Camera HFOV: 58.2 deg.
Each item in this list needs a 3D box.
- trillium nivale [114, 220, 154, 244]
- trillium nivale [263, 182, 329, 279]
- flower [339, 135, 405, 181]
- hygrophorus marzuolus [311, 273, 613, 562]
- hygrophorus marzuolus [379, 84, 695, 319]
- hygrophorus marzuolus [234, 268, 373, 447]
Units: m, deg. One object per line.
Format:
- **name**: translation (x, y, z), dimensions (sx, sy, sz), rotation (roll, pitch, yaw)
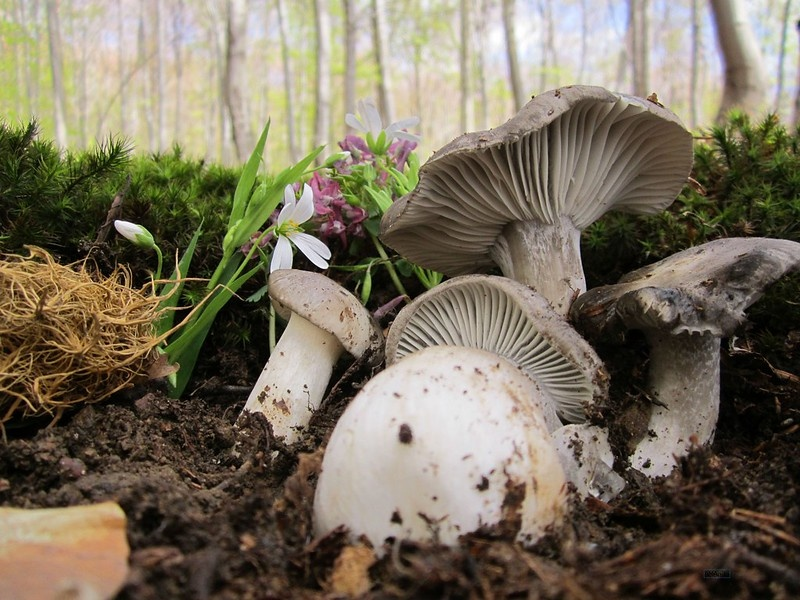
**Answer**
- **trillium nivale**: translation (-1.350, -0.337, 3.631), dimensions (0.197, 0.071, 0.079), rotation (28, -36, -27)
- **trillium nivale**: translation (-0.493, -0.344, 3.679), dimensions (0.233, 0.380, 0.280), rotation (13, 4, 38)
- **flower**: translation (-0.148, -0.848, 4.209), dimensions (0.315, 0.127, 0.312), rotation (-22, 40, -30)
- **hygrophorus marzuolus**: translation (0.329, 0.503, 3.268), dimensions (1.142, 1.109, 0.828), rotation (12, 3, 10)
- **hygrophorus marzuolus**: translation (0.686, -0.699, 3.747), dimensions (1.247, 0.611, 1.266), rotation (-30, -27, 13)
- **hygrophorus marzuolus**: translation (-0.458, 0.339, 3.740), dimensions (0.713, 0.899, 0.726), rotation (22, -5, -19)
